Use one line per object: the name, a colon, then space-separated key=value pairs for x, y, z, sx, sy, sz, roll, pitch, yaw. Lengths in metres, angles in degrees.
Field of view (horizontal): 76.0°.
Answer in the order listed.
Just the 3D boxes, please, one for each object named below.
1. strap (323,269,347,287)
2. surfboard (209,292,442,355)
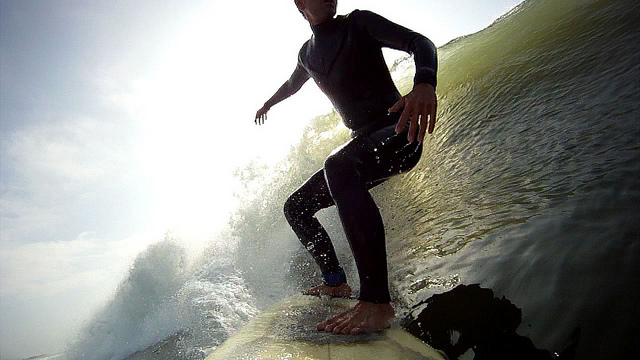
strap: x=0.154 y=1.011 z=4.222 sx=0.177 sy=0.116 sz=0.176 roll=-10 pitch=-8 yaw=-34
surfboard: x=0.034 y=1.340 z=3.624 sx=1.671 sy=0.098 sz=1.070 roll=-4 pitch=12 yaw=25
